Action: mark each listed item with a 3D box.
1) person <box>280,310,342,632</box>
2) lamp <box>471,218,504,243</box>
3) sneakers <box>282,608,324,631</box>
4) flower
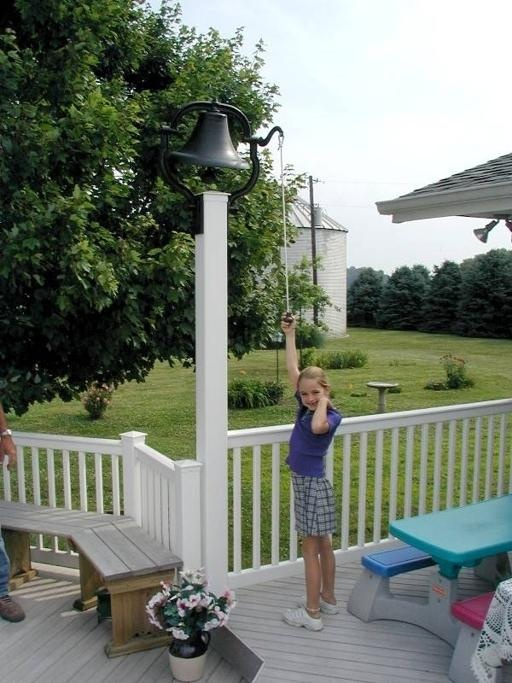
[{"bbox_3d":[0.274,0.619,3.303,0.298,1.501,0.474,-2,3,7],"label":"person"},{"bbox_3d":[1.438,-0.680,4.249,0.130,0.199,0.126,40,-1,16],"label":"lamp"},{"bbox_3d":[0.223,1.330,3.256,0.192,0.081,0.080,8,5,27],"label":"sneakers"},{"bbox_3d":[-0.316,1.199,3.038,0.296,0.314,0.396,-4,4,-37],"label":"flower"}]
